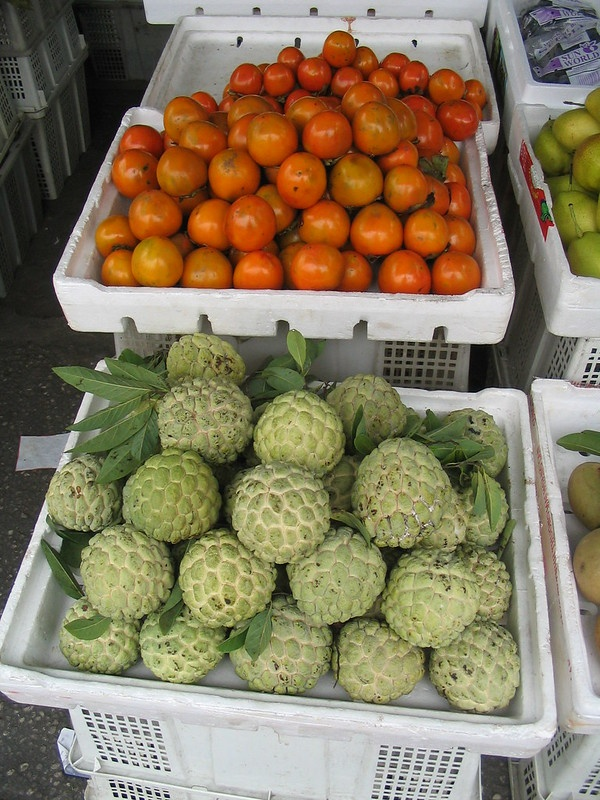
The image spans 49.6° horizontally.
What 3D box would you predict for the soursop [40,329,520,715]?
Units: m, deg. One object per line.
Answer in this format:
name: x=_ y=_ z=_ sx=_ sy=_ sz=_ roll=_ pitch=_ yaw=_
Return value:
soursop: x=-0.037 y=0.163 z=1.046 sx=0.779 sy=0.343 sz=0.572 roll=6 pitch=52 yaw=9
